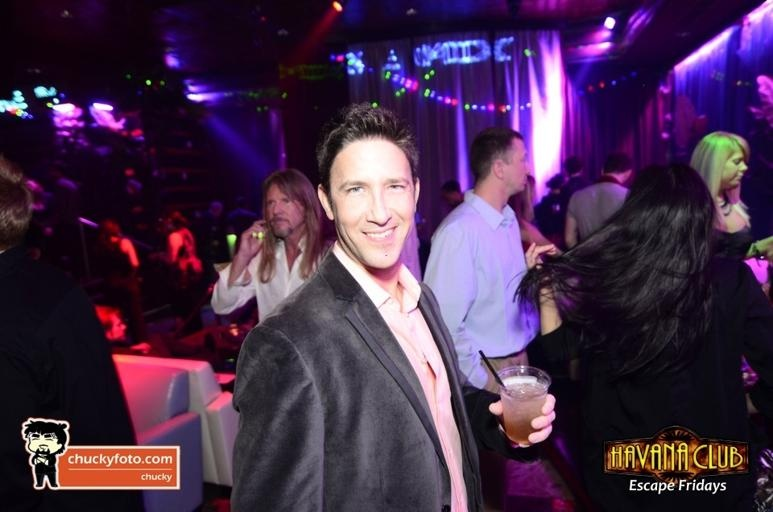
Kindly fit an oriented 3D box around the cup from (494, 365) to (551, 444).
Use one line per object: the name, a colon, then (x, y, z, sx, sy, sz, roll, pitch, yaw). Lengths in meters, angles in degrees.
cup: (0.646, 0.779, 2.997, 0.370, 0.404, 0.358, 0, -5, 0)
